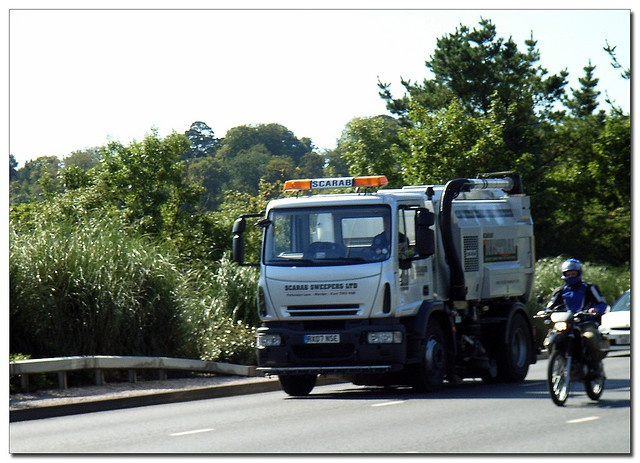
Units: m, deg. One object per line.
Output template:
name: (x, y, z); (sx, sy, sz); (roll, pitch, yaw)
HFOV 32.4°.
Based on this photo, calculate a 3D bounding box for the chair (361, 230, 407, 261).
chair: (1.380, 0.283, 21.762); (0.846, 0.546, 0.305); (-3, 6, -29)

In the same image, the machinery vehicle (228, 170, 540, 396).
machinery vehicle: (1.745, 1.067, 24.695); (4.363, 4.574, 7.326); (-4, -5, 28)

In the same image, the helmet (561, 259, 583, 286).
helmet: (4.881, 0.792, 21.274); (0.384, 0.492, 0.545); (-3, -7, 22)

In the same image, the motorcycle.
motorcycle: (4.721, 2.384, 20.781); (1.524, 1.744, 0.587); (-5, 7, -42)
